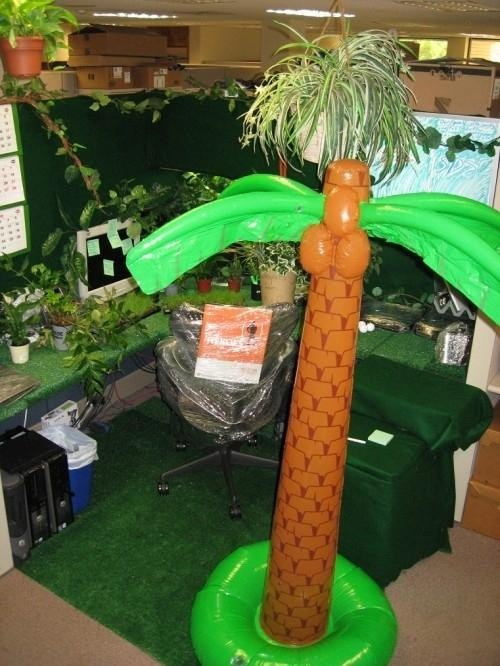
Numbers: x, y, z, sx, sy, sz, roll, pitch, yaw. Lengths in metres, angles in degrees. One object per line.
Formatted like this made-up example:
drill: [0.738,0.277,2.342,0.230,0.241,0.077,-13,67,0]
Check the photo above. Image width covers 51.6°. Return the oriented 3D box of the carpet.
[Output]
carpet: [-0.439,0.978,2.551,0.961,0.005,0.878,17,27,31]

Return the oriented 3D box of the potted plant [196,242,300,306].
potted plant: [0.008,-0.362,3.012,0.524,0.477,0.309,-2,16,1]

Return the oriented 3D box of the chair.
chair: [-0.123,0.325,2.546,0.718,0.891,0.639,1,7,-28]
